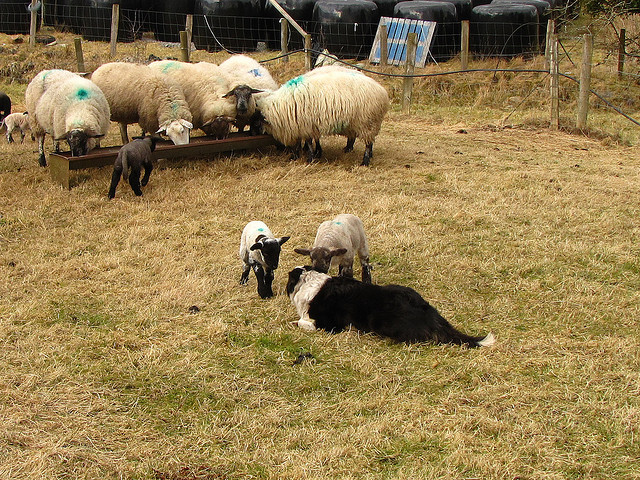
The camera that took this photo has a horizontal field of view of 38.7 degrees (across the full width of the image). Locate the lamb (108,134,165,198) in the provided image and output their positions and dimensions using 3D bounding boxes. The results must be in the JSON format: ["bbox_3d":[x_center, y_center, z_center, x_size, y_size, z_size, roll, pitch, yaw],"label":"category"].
[{"bbox_3d":[-2.885,-1.261,14.396,0.467,0.651,1.210,8,28,4],"label":"lamb"}]

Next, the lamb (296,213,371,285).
[{"bbox_3d":[0.274,0.060,11.989,0.637,0.786,1.193,-1,3,22],"label":"lamb"}]

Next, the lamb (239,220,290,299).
[{"bbox_3d":[-0.774,0.274,12.136,0.532,0.859,1.281,-2,15,-13],"label":"lamb"}]

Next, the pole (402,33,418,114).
[{"bbox_3d":[1.948,-3.676,19.974,0.198,1.756,0.534,6,11,4],"label":"pole"}]

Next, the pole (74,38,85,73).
[{"bbox_3d":[-5.842,-4.516,22.111,0.239,0.761,1.289,2,12,-15],"label":"pole"}]

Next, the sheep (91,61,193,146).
[{"bbox_3d":[-3.117,-2.365,16.752,2.511,1.617,1.065,23,33,39],"label":"sheep"}]

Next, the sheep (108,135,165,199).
[{"bbox_3d":[-2.941,-1.245,14.700,0.510,0.866,1.448,7,14,6],"label":"sheep"}]

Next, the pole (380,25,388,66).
[{"bbox_3d":[1.647,-5.053,23.476,0.285,1.031,0.729,5,11,3],"label":"pole"}]

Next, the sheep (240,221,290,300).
[{"bbox_3d":[-0.781,0.245,11.997,0.490,0.883,0.835,2,12,-14],"label":"sheep"}]

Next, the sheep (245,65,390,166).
[{"bbox_3d":[-0.057,-2.308,16.653,2.709,1.816,1.320,-3,30,-3],"label":"sheep"}]

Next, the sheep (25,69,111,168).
[{"bbox_3d":[-4.328,-2.218,15.683,2.130,1.417,1.061,33,36,30],"label":"sheep"}]
